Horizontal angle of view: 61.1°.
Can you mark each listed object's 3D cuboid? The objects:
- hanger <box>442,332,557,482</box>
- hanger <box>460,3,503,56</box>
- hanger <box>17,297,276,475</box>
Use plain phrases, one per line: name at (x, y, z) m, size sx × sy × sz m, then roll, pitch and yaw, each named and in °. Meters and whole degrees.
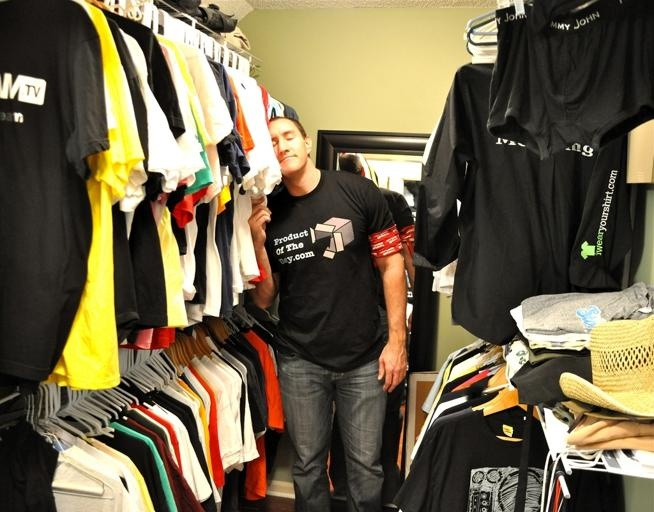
hanger at (0.597, 0.520, 1.919) m, size 0.328 × 0.463 × 0.135 m, roll -4°, pitch -23°, yaw 45°
hanger at (0.512, -0.754, 1.834) m, size 0.121 × 0.060 × 0.156 m, roll -6°, pitch 16°, yaw 3°
hanger at (-0.716, 0.576, 2.363) m, size 0.563 × 0.269 × 0.801 m, roll 5°, pitch 16°, yaw 32°
